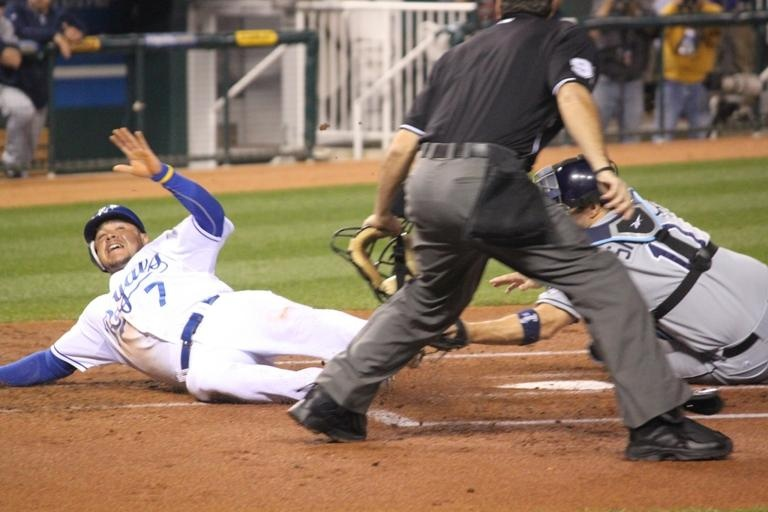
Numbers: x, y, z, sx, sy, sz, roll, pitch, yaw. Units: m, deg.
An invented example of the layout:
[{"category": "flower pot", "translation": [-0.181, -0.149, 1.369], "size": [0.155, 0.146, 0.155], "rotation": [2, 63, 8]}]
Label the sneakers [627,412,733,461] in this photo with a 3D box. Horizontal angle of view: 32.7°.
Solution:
[{"category": "sneakers", "translation": [1.813, 1.100, 7.871], "size": [0.294, 0.237, 0.674], "rotation": [-5, -2, -45]}]

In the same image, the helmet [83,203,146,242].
[{"category": "helmet", "translation": [-1.877, -0.248, 9.036], "size": [0.309, 0.172, 0.347], "rotation": [-22, -27, 1]}]

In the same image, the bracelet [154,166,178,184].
[{"category": "bracelet", "translation": [-1.448, -0.531, 8.709], "size": [0.171, 0.101, 0.154], "rotation": [14, -11, -4]}]
